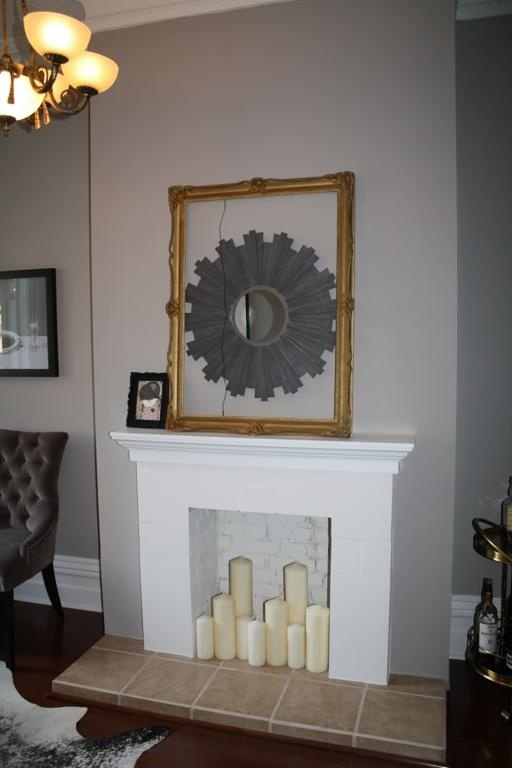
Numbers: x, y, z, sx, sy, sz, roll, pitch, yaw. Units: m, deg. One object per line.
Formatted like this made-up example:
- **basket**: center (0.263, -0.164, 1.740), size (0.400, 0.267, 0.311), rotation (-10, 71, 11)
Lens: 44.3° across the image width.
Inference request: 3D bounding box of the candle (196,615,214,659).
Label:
- **candle**: center (-0.212, 1.067, 2.627), size (0.077, 0.171, 0.053), rotation (-3, 10, -8)

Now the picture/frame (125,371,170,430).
- **picture/frame**: center (-0.457, 0.077, 2.704), size (0.215, 0.281, 0.023), rotation (2, -6, 18)

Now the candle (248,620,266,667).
- **candle**: center (0.004, 1.061, 2.565), size (0.066, 0.176, 0.054), rotation (1, 10, 17)

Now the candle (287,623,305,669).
- **candle**: center (0.161, 1.067, 2.552), size (0.073, 0.164, 0.075), rotation (1, 10, 16)

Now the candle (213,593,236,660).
- **candle**: center (-0.135, 1.029, 2.664), size (0.090, 0.233, 0.134), rotation (-3, 10, -6)

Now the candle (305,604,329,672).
- **candle**: center (0.247, 1.026, 2.535), size (0.094, 0.235, 0.117), rotation (-1, 10, 4)

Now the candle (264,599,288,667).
- **candle**: center (0.087, 1.028, 2.599), size (0.093, 0.232, 0.124), rotation (-2, 10, 2)

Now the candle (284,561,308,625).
- **candle**: center (0.171, 0.883, 2.640), size (0.094, 0.245, 0.099), rotation (-2, 9, -1)

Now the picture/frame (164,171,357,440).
- **picture/frame**: center (0.049, -0.331, 2.525), size (0.975, 1.381, 0.067), rotation (0, 1, 18)
